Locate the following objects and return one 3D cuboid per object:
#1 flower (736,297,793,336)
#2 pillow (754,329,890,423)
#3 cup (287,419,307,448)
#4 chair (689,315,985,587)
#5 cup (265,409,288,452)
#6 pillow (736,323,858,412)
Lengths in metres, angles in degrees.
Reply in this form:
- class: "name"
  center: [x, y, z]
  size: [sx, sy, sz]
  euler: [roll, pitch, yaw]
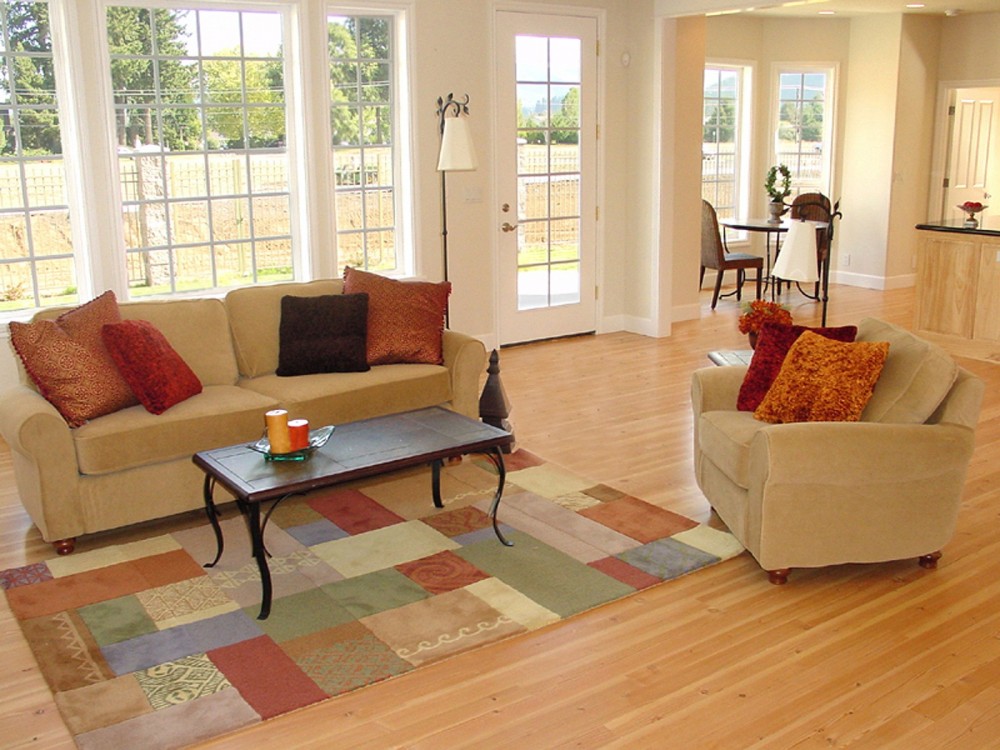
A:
- class: "flower"
  center: [1.395, -0.300, 4.250]
  size: [0.308, 0.180, 0.280]
  euler: [9, 16, 40]
- class: "pillow"
  center: [1.465, 0.033, 3.570]
  size: [0.522, 0.415, 0.149]
  euler: [14, -20, 46]
- class: "cup"
  center: [-0.904, 0.258, 3.549]
  size: [0.081, 0.117, 0.159]
  euler: [-6, 17, -10]
- class: "chair"
  center: [1.428, 0.297, 3.832]
  size: [1.576, 0.989, 1.268]
  euler: [-4, 13, -7]
- class: "cup"
  center: [-0.976, 0.256, 3.481]
  size: [0.097, 0.178, 0.092]
  euler: [-2, 20, 1]
- class: "pillow"
  center: [1.520, 0.003, 4.019]
  size: [0.578, 0.417, 0.167]
  euler: [11, -11, 42]
